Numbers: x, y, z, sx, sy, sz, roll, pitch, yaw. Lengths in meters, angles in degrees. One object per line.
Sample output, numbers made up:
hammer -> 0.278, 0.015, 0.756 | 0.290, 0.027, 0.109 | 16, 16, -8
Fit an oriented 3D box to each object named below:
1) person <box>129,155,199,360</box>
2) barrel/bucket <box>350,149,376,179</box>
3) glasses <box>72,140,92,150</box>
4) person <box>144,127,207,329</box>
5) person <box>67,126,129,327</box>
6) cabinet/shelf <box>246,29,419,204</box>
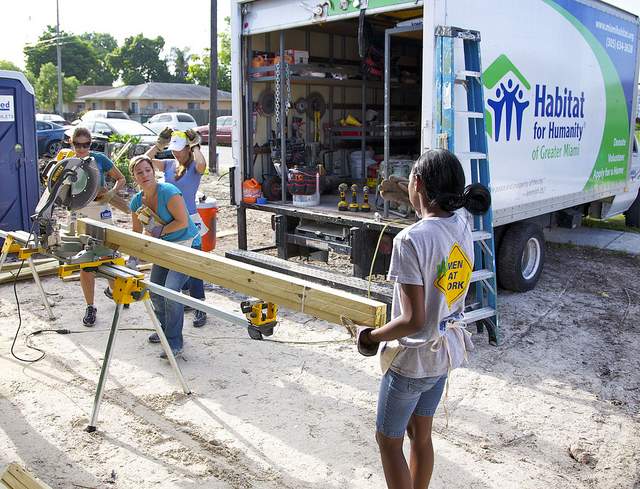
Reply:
person -> -1.393, 0.117, 5.128 | 0.546, 1.840, 0.825 | -7, 14, -34
barrel/bucket -> 0.651, -1.269, 8.732 | 0.452, 0.567, 0.450 | -1, 3, 0
glasses -> -2.530, -1.054, 5.851 | 0.186, 0.074, 0.151 | -5, 13, -27
person -> -1.465, 0.103, 5.193 | 0.636, 1.783, 0.799 | 3, 7, 30
person -> -2.267, -0.156, 5.896 | 0.664, 2.192, 0.933 | 1, 3, 15
cabinet/shelf -> 0.065, -1.780, 7.651 | 0.907, 2.541, 3.032 | 5, 8, 44
